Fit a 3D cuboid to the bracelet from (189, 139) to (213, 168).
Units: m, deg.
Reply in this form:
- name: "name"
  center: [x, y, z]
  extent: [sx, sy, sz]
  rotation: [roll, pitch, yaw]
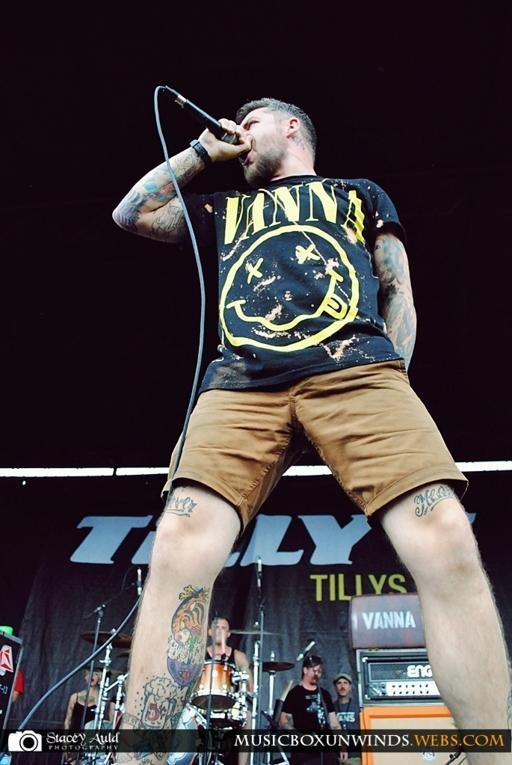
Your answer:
- name: "bracelet"
  center: [-0.127, -0.531, 1.445]
  extent: [0.038, 0.066, 0.064]
  rotation: [-40, -68, 4]
